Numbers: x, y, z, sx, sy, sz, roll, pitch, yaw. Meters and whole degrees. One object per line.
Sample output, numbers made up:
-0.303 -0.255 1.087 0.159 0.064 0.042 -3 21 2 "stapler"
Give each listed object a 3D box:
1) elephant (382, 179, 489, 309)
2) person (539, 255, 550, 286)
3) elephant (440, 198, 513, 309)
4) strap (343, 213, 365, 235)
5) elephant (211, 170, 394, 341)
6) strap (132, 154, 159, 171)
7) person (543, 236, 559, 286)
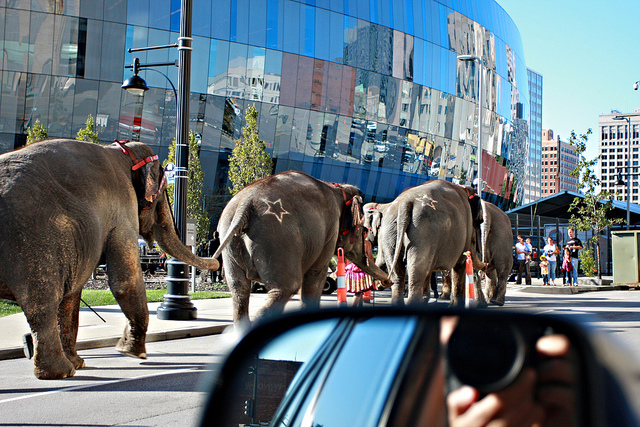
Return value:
2.033 0.543 12.674 1.037 2.326 2.860 3 1 30 "elephant"
9.386 2.373 28.156 0.349 1.289 1.393 3 1 19 "person"
4.009 0.981 17.025 1.587 2.324 3.627 10 -2 -14 "elephant"
0.586 0.217 11.167 0.141 0.386 0.275 39 -16 -29 "strap"
-0.148 0.671 10.471 1.380 2.517 4.320 5 2 33 "elephant"
-2.416 -0.680 9.396 0.220 0.072 0.229 -27 5 15 "strap"
9.549 1.965 28.029 0.678 2.037 0.612 -3 -12 32 "person"
